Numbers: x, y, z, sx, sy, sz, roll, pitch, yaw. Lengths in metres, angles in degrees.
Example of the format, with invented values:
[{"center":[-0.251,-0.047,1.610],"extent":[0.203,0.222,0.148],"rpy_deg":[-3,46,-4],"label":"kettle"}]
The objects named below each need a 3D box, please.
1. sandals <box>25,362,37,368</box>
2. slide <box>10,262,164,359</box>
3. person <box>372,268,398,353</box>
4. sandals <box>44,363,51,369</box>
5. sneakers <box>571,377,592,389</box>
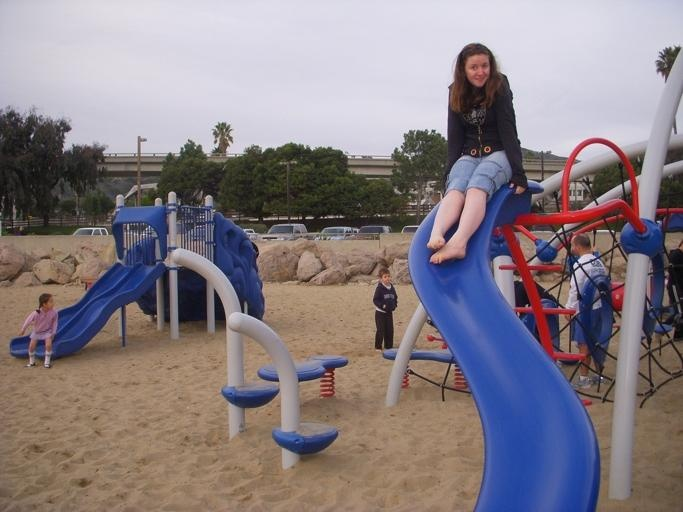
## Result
[{"center":[-4.892,1.697,12.309],"extent":[0.141,0.052,0.232],"rpy_deg":[-5,8,-25],"label":"sandals"},{"center":[-4.191,1.061,13.723],"extent":[1.167,1.296,3.203],"rpy_deg":[0,13,26],"label":"slide"},{"center":[0.745,0.921,13.389],"extent":[0.378,1.529,1.185],"rpy_deg":[-1,7,2],"label":"person"},{"center":[-4.597,1.716,12.233],"extent":[0.095,0.060,0.091],"rpy_deg":[3,-3,-26],"label":"sandals"},{"center":[3.269,1.717,10.613],"extent":[0.258,0.136,0.117],"rpy_deg":[-4,6,-23],"label":"sneakers"}]
